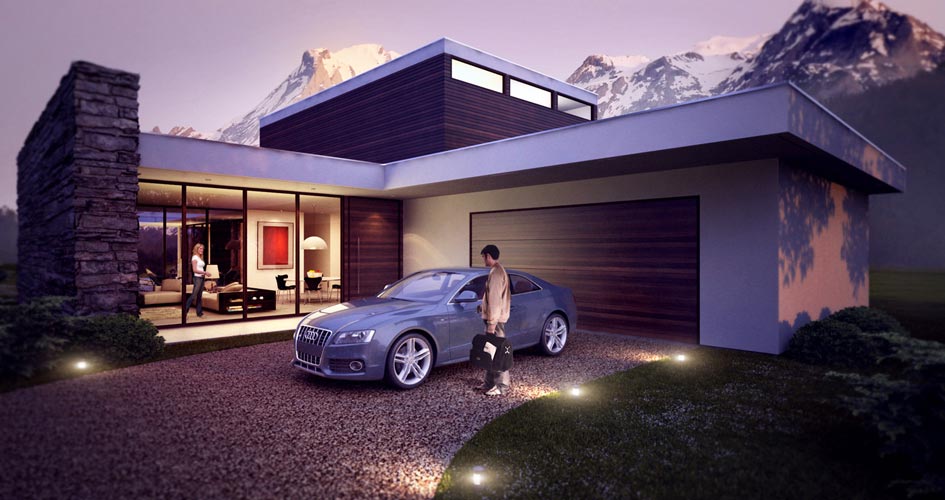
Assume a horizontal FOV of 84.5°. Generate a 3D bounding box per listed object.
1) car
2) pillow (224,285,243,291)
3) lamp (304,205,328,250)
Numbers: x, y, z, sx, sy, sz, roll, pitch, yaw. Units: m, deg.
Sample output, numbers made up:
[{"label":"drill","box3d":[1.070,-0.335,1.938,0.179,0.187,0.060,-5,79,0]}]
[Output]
[{"label":"car","box3d":[-0.903,1.895,14.442,7.223,2.021,3.115,1,-1,-28]},{"label":"pillow","box3d":[-8.992,1.375,19.106,0.853,0.241,0.221,-2,0,15]},{"label":"lamp","box3d":[-7.127,-1.124,22.750,1.089,2.160,1.023,3,-9,-40]}]
